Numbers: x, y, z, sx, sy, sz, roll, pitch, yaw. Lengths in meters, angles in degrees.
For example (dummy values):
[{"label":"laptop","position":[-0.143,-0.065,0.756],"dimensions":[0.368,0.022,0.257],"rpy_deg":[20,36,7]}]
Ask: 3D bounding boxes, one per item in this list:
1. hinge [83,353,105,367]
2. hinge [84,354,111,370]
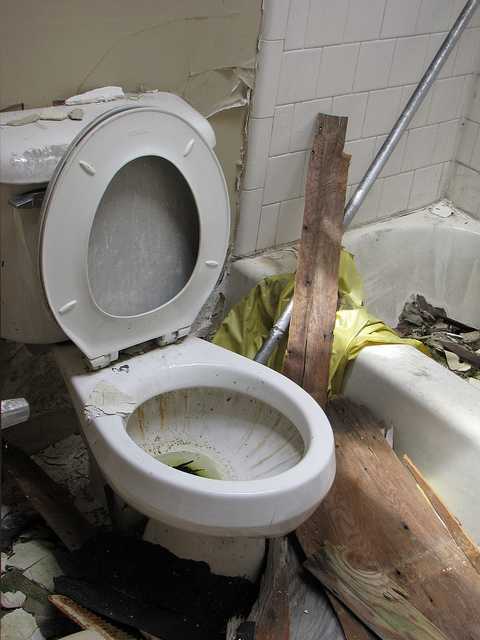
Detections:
[{"label":"hinge","position":[-0.274,0.077,0.905],"dimensions":[0.019,0.010,0.023],"rpy_deg":[-12,45,-20]},{"label":"hinge","position":[-0.256,0.083,0.905],"dimensions":[0.028,0.014,0.030],"rpy_deg":[-17,36,-37]}]
